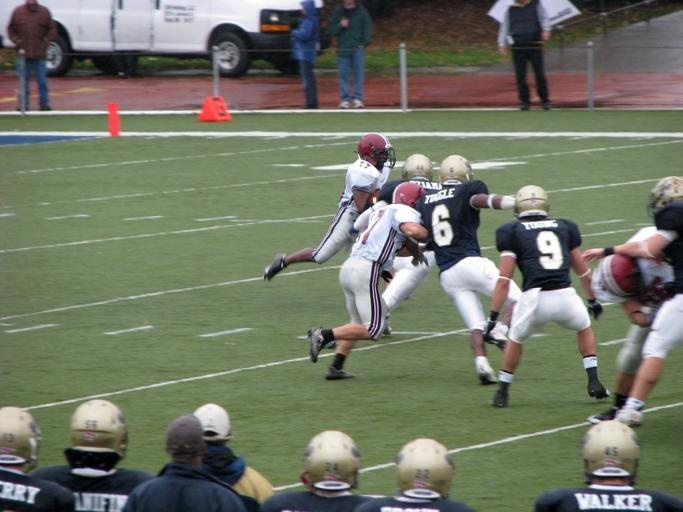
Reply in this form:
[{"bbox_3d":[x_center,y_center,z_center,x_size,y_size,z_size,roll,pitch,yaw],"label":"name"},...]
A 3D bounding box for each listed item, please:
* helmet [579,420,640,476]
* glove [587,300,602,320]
[{"bbox_3d":[1.987,1.443,11.299,0.523,0.345,0.558,-1,-11,12],"label":"helmet"},{"bbox_3d":[2.303,0.462,13.963,0.115,0.197,0.354,-1,2,9],"label":"glove"}]
